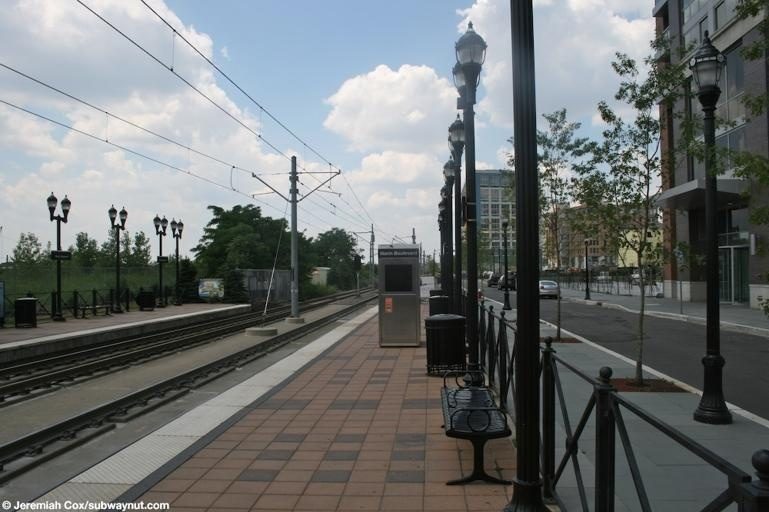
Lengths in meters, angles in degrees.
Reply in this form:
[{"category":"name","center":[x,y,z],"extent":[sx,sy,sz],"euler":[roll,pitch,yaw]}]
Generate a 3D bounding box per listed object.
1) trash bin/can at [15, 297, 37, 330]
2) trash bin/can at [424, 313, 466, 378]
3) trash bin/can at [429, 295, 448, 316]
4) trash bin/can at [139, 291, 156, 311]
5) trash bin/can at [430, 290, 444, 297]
[{"category":"trash bin/can","center":[-13.147,2.053,24.922],"extent":[0.780,1.015,0.701],"euler":[-3,7,-16]},{"category":"trash bin/can","center":[1.379,2.021,15.425],"extent":[1.226,1.874,1.196],"euler":[0,-3,0]},{"category":"trash bin/can","center":[1.713,1.586,21.824],"extent":[0.663,0.785,0.685],"euler":[-3,-3,40]},{"category":"trash bin/can","center":[-12.074,2.266,34.563],"extent":[0.779,0.945,0.630],"euler":[-4,7,-25]},{"category":"trash bin/can","center":[2.018,1.390,25.657],"extent":[0.326,0.263,0.345],"euler":[0,-2,5]}]
